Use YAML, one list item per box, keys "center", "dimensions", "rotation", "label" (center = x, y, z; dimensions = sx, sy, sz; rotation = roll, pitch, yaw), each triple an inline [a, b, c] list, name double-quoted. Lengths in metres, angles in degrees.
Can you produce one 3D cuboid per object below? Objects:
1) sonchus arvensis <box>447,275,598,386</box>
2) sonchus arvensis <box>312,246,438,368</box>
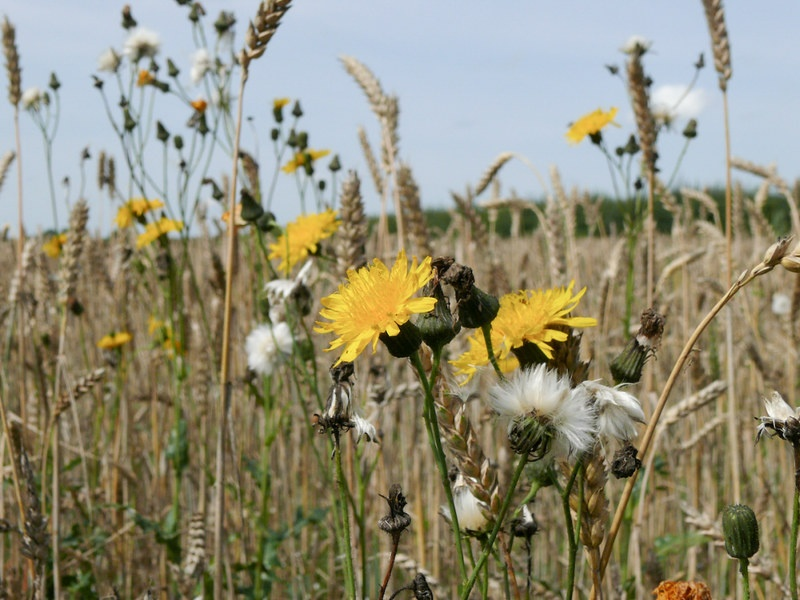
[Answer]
- center: [0.776, 0.180, 9.681]
  dimensions: [0.408, 0.305, 0.371]
  rotation: [-32, 14, -38]
  label: "sonchus arvensis"
- center: [-0.114, -0.073, 9.636]
  dimensions: [0.514, 0.264, 0.649]
  rotation: [-32, 33, 33]
  label: "sonchus arvensis"
